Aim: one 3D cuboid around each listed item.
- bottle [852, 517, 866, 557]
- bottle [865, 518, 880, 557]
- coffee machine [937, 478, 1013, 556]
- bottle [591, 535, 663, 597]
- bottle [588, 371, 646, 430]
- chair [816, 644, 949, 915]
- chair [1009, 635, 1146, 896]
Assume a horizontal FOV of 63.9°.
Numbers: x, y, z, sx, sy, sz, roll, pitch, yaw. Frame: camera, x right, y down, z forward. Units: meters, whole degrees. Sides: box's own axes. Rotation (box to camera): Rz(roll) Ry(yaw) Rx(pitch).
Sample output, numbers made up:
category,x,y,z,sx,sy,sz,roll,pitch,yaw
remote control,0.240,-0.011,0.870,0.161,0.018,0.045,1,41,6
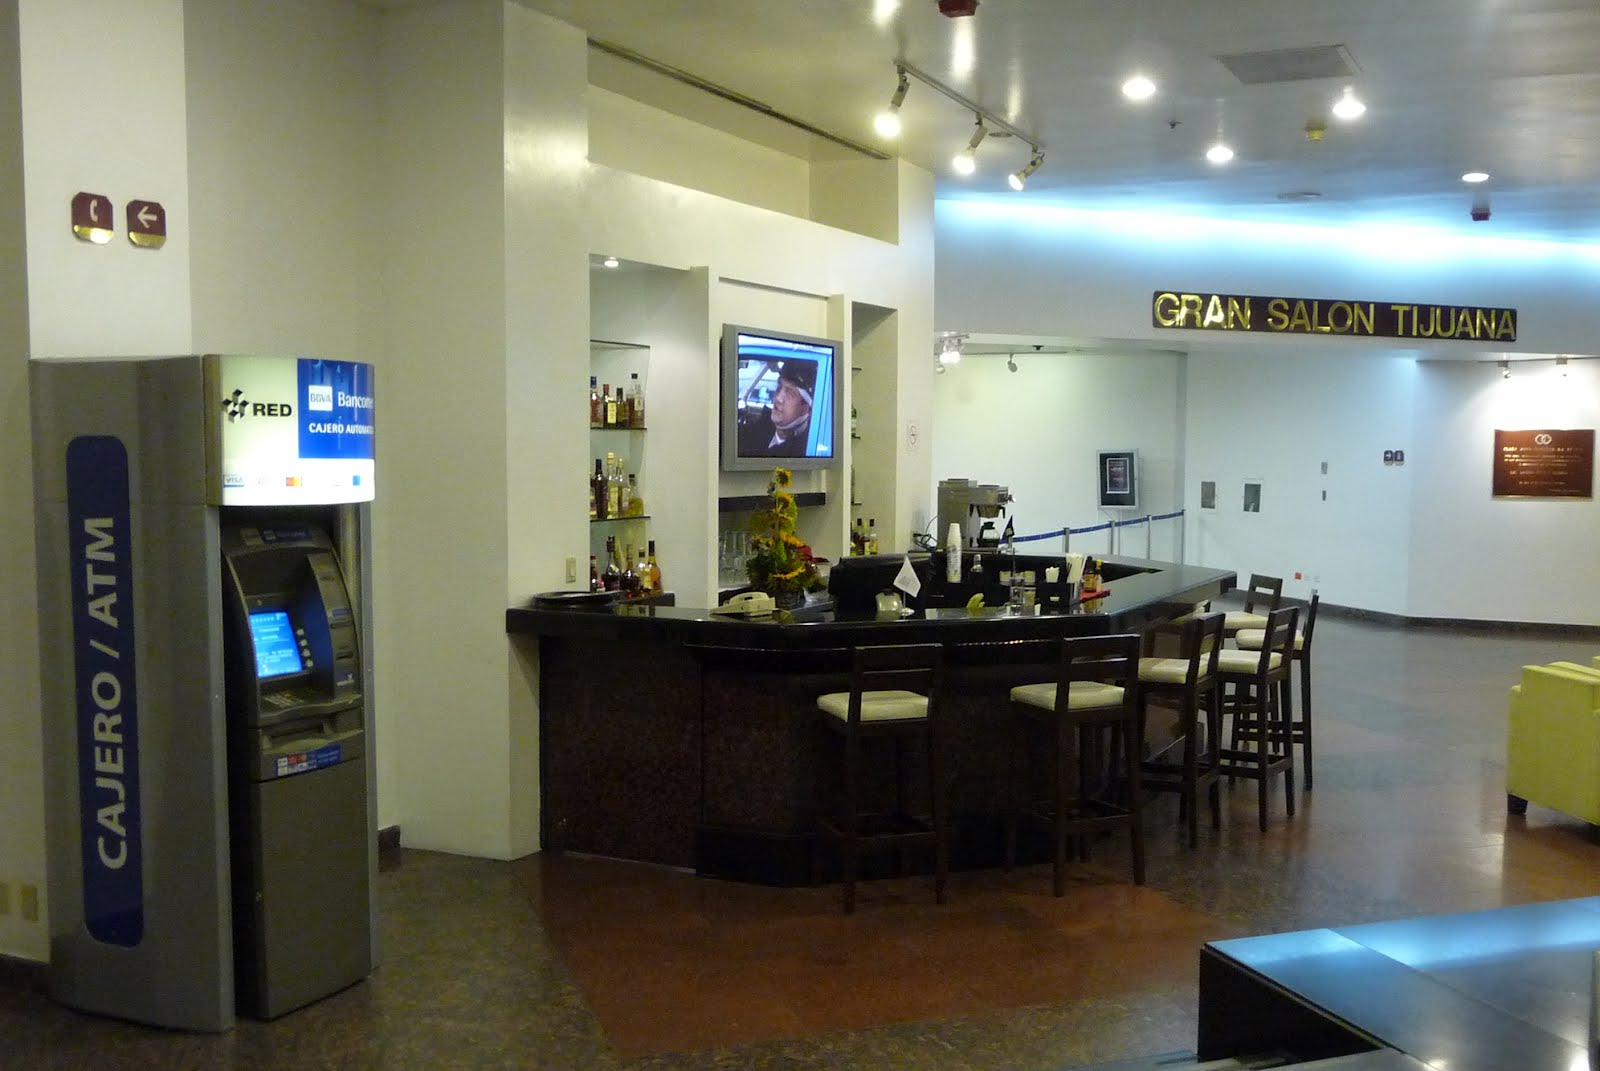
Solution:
category,x,y,z,sx,sy,sz,roll,pitch,yaw
bottle,0.478,0.003,10.439,0.115,0.282,0.213,-1,3,2
bottle,0.581,-0.003,10.464,0.091,0.273,0.154,-1,3,3
coffee machine,1.461,-0.219,10.891,0.741,0.770,0.396,0,3,11
bottle,-1.114,0.198,8.216,0.513,0.372,0.380,-2,3,-19
bottle,-1.193,-0.863,8.239,0.129,0.369,0.443,1,4,33
chair,0.461,1.289,7.017,0.728,1.433,0.646,-1,3,-2
chair,1.708,1.247,7.536,0.747,1.420,1.217,1,4,37
